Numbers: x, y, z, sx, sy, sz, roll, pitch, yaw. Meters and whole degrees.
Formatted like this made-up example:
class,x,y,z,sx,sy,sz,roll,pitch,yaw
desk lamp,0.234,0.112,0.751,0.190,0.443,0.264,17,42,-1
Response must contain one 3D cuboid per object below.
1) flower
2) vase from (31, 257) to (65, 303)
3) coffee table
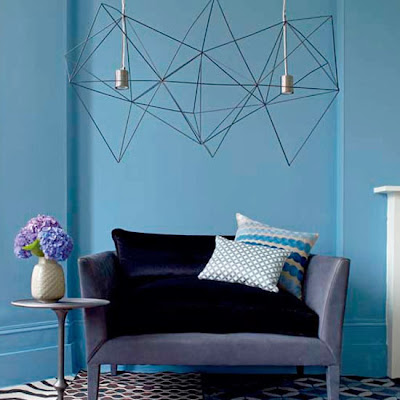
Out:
class,x,y,z,sx,sy,sz,roll,pitch,yaw
flower,-0.754,0.184,2.552,0.262,0.220,0.126,2,5,23
vase,-0.733,0.378,2.566,0.137,0.241,0.149,0,-7,-16
coffee table,-0.673,0.657,2.536,0.433,0.573,0.439,7,-12,-37
